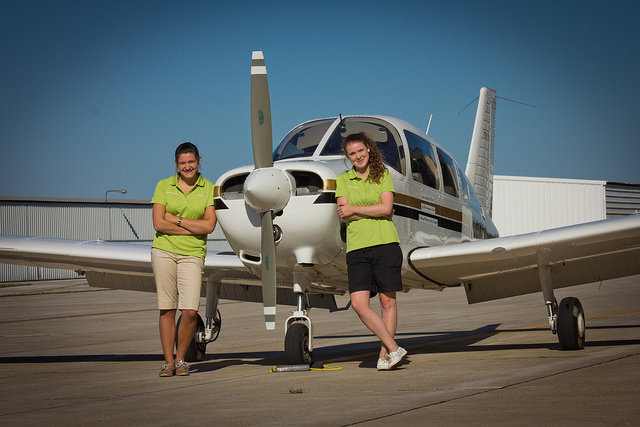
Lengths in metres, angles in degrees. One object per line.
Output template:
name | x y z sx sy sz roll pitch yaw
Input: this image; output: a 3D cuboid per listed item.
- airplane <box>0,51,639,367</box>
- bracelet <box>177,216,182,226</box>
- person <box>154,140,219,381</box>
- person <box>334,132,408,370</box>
airplane | 0.316 0.083 7.154 7.229 3.469 3.300 -1 -5 -8
bracelet | -1.424 0.079 5.644 0.041 0.102 0.081 -1 -5 -4
person | -1.371 0.499 5.701 0.638 2.396 1.410 1 -6 -20
person | 0.498 0.380 5.646 0.671 2.397 0.356 -1 -5 1
